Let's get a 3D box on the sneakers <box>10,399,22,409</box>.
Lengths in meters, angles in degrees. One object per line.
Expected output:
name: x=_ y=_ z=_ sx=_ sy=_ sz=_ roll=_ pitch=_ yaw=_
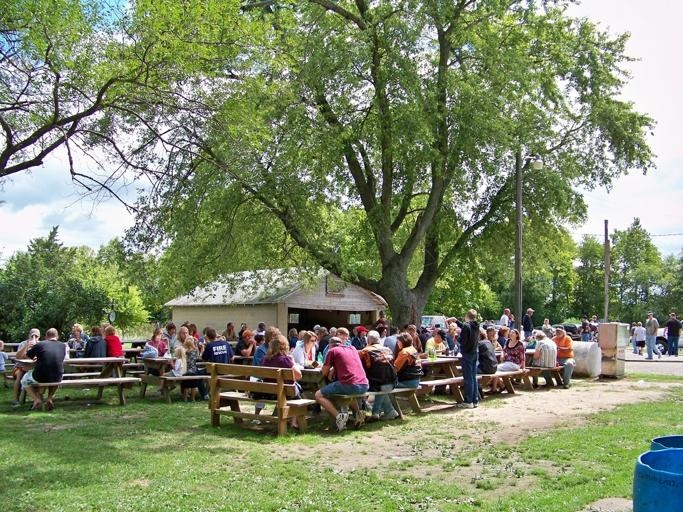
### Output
sneakers: x=-7.675 y=3.512 z=14.220 sx=0.374 sy=0.175 sz=0.150 roll=-6 pitch=-7 yaw=42

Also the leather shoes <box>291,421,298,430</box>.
leather shoes: x=-0.997 y=3.556 z=12.676 sx=0.099 sy=0.158 sz=0.437 roll=1 pitch=-3 yaw=-17

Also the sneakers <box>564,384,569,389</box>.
sneakers: x=6.564 y=3.824 z=17.664 sx=0.134 sy=0.077 sz=0.101 roll=5 pitch=-9 yaw=-36

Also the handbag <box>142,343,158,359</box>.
handbag: x=-5.146 y=2.553 z=16.219 sx=0.331 sy=0.174 sz=0.491 roll=2 pitch=-1 yaw=-12

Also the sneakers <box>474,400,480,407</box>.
sneakers: x=3.334 y=3.682 z=14.922 sx=0.153 sy=0.127 sz=0.206 roll=-16 pitch=-2 yaw=10

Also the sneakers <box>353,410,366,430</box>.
sneakers: x=0.360 y=3.567 z=13.004 sx=0.174 sy=0.444 sz=0.191 roll=4 pitch=23 yaw=-23

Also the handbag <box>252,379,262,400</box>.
handbag: x=-1.876 y=2.905 z=13.212 sx=0.286 sy=0.448 sz=0.149 roll=7 pitch=3 yaw=32

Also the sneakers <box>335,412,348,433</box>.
sneakers: x=-0.020 y=3.449 z=12.647 sx=0.196 sy=0.518 sz=0.166 roll=4 pitch=12 yaw=-5

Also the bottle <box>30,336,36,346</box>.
bottle: x=-7.852 y=2.155 z=15.296 sx=0.068 sy=0.210 sz=0.148 roll=15 pitch=-17 yaw=-41

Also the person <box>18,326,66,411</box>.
person: x=-6.985 y=2.653 z=14.216 sx=0.998 sy=1.853 sz=0.943 roll=-9 pitch=-16 yaw=36

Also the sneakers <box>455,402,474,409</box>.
sneakers: x=3.006 y=3.678 z=14.816 sx=0.347 sy=0.177 sz=0.142 roll=1 pitch=-4 yaw=32

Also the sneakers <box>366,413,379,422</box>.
sneakers: x=0.669 y=3.673 z=13.656 sx=0.358 sy=0.169 sz=0.120 roll=-1 pitch=4 yaw=-42

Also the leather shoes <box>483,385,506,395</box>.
leather shoes: x=4.324 y=3.790 z=17.050 sx=0.526 sy=0.247 sz=0.163 roll=12 pitch=-13 yaw=-22

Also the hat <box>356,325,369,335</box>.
hat: x=0.490 y=2.247 z=18.252 sx=0.361 sy=0.226 sz=0.250 roll=-1 pitch=0 yaw=23

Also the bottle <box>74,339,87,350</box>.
bottle: x=-8.143 y=2.752 z=18.696 sx=0.322 sy=0.365 sz=0.259 roll=0 pitch=12 yaw=-42

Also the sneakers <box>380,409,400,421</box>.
sneakers: x=1.100 y=3.644 z=13.743 sx=0.459 sy=0.217 sz=0.167 roll=-10 pitch=-8 yaw=38
